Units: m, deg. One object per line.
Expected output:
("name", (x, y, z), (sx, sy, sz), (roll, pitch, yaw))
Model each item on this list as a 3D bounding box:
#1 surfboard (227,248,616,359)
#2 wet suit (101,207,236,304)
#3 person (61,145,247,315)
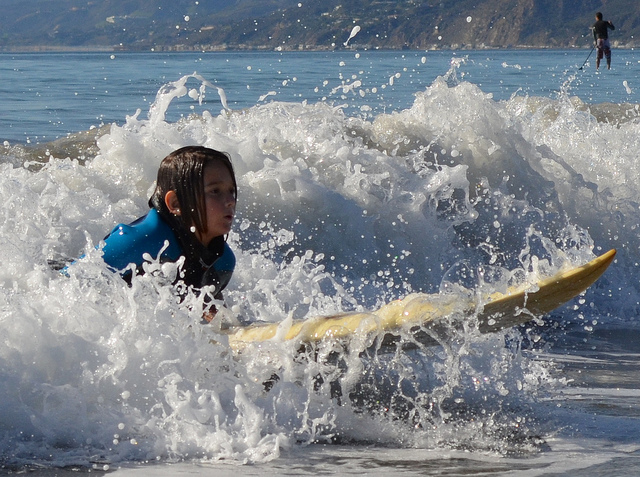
("surfboard", (0.775, 0.555, 8.902), (2.668, 0.416, 0.289), (-13, 85, 23))
("wet suit", (-1.161, 0.105, 8.052), (0.846, 0.642, 0.371), (26, 82, 39))
("person", (-1.094, 0.144, 8.454), (1.029, 1.265, 1.814), (7, 98, 24))
